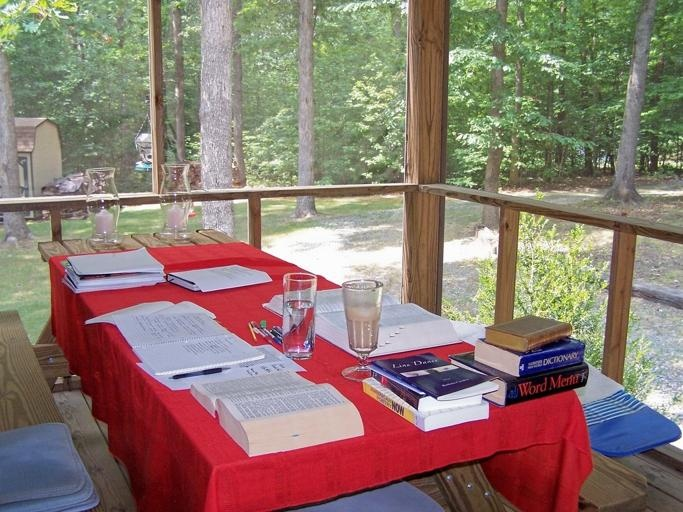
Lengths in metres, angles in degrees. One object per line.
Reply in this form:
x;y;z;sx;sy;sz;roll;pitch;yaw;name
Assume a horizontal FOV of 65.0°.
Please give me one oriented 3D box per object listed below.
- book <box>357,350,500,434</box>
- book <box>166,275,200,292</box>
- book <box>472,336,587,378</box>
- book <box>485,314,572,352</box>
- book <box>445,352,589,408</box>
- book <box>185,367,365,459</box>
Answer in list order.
0.160;0.255;1.045;0.145;0.050;0.179;-6;16;-29;book
-0.535;0.098;1.808;0.080;0.019;0.083;13;0;38;book
0.398;0.187;1.112;0.121;0.026;0.114;-10;17;-29;book
0.394;0.158;1.130;0.103;0.021;0.100;-9;9;-40;book
0.389;0.236;1.110;0.141;0.029;0.133;-7;13;-29;book
-0.134;0.279;1.036;0.221;0.045;0.316;-2;7;-31;book
